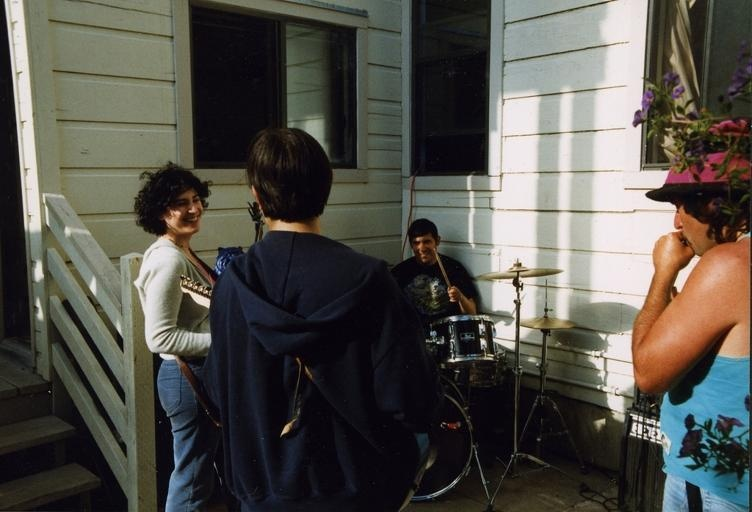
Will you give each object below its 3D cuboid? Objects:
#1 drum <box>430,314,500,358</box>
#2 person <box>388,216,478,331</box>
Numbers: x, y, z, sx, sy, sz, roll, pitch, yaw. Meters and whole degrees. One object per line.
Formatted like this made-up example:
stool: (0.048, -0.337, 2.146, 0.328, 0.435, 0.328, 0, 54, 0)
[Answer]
drum: (0.695, 0.645, 5.599, 0.360, 0.237, 0.382, -1, -13, 0)
person: (0.470, 0.218, 6.509, 0.783, 1.055, 0.632, -5, 6, 8)
